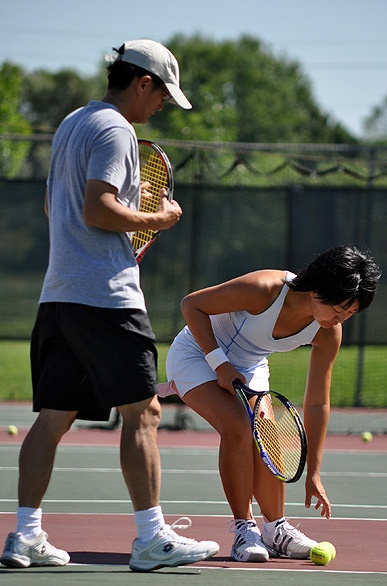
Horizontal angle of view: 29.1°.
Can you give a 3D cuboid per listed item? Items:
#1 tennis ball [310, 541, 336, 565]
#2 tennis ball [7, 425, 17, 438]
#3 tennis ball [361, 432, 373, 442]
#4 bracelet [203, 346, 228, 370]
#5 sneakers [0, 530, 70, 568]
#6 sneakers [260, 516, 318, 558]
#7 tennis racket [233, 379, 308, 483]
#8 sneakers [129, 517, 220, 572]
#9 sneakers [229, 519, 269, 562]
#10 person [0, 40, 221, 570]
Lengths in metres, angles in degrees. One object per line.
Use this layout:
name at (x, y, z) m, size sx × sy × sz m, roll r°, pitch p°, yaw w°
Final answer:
tennis ball at (0.485, 0.969, 2.772) m, size 0.049 × 0.043 × 0.115 m, roll 16°, pitch -1°, yaw 12°
tennis ball at (-1.592, 1.208, 6.519) m, size 0.084 × 0.090 × 0.081 m, roll -14°, pitch -15°, yaw -4°
tennis ball at (1.609, 1.324, 6.817) m, size 0.082 × 0.093 × 0.083 m, roll -40°, pitch -5°, yaw -5°
bracelet at (0.087, 0.255, 2.895) m, size 0.090 × 0.063 × 0.081 m, roll -29°, pitch -6°, yaw 0°
sneakers at (-0.535, 0.853, 2.507) m, size 0.264 × 0.115 × 0.094 m, roll 9°, pitch -7°, yaw -35°
sneakers at (0.354, 0.953, 2.948) m, size 0.248 × 0.107 × 0.117 m, roll 3°, pitch 7°, yaw 28°
tennis racket at (0.280, 0.493, 2.668) m, size 0.187 × 0.351 × 0.425 m, roll 5°, pitch -8°, yaw -14°
sneakers at (-0.077, 0.869, 2.586) m, size 0.363 × 0.173 × 0.121 m, roll -3°, pitch 0°, yaw -12°
sneakers at (0.216, 0.922, 2.773) m, size 0.144 × 0.152 × 0.121 m, roll 2°, pitch -8°, yaw 1°
person at (-0.279, -0.011, 2.573) m, size 0.610 × 1.890 × 0.457 m, roll 3°, pitch -8°, yaw 0°
